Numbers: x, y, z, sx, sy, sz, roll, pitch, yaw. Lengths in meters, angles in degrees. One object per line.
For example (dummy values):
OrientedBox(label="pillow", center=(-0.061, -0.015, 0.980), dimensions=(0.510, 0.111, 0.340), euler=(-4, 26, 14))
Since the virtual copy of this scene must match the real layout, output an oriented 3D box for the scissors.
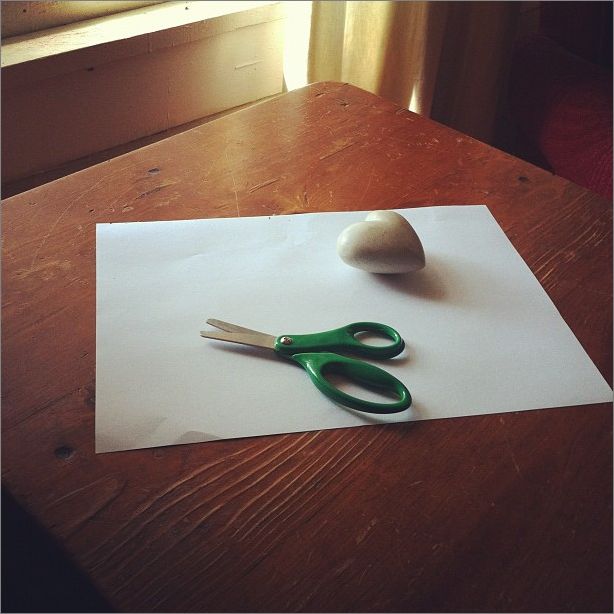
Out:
OrientedBox(label="scissors", center=(0.003, 0.046, 0.456), dimensions=(0.142, 0.017, 0.072), euler=(5, 36, 2))
